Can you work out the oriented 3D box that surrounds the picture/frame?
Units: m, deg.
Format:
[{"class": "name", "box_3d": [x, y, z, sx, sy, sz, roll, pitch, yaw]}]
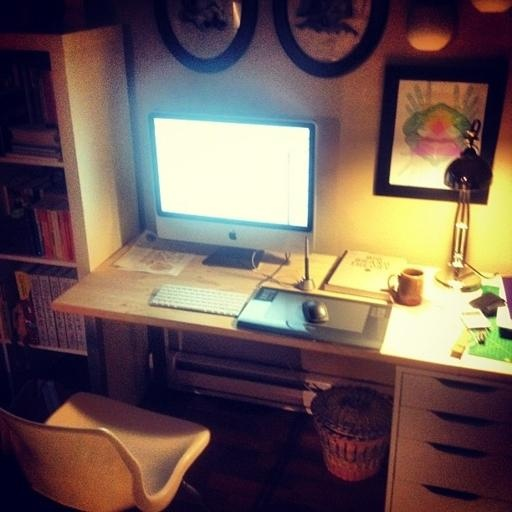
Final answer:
[{"class": "picture/frame", "box_3d": [0.680, -0.459, 1.709, 0.449, 0.627, 0.045, 9, 34, 16]}]

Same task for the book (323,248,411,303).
[{"class": "book", "box_3d": [0.417, 0.070, 1.821, 0.209, 0.031, 0.215, 10, 38, 22]}]

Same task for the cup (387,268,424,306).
[{"class": "cup", "box_3d": [0.522, 0.087, 1.686, 0.142, 0.137, 0.096, 8, 26, 23]}]

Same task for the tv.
[{"class": "tv", "box_3d": [-0.078, -0.267, 1.827, 0.584, 0.504, 0.151, 7, 32, 11]}]
